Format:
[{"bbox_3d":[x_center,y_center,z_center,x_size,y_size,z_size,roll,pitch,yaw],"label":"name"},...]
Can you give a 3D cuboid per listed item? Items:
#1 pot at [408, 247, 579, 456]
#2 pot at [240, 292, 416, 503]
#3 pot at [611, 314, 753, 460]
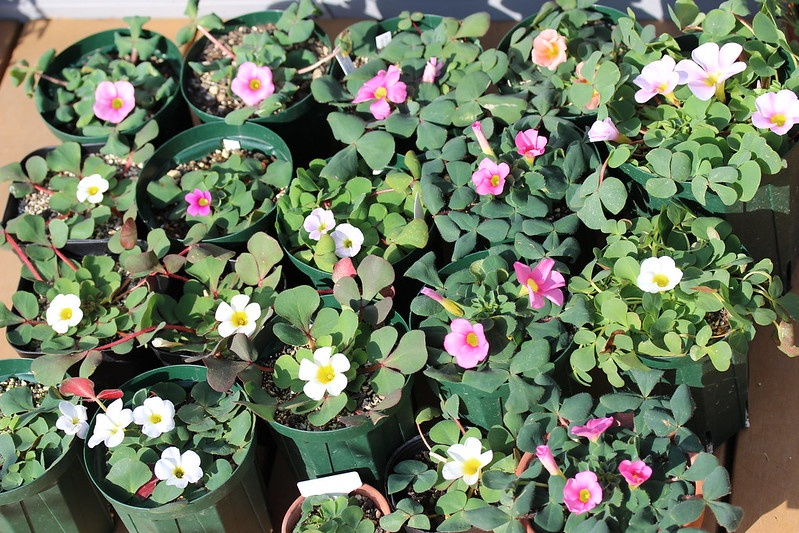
[{"bbox_3d":[0.267,0.195,1.716,0.479,0.515,0.220,5,0,11],"label":"pot"},{"bbox_3d":[-0.167,0.344,1.862,0.480,0.424,0.554,-2,47,4],"label":"pot"},{"bbox_3d":[0.857,0.381,1.809,0.325,0.401,0.372,11,51,18],"label":"pot"}]
